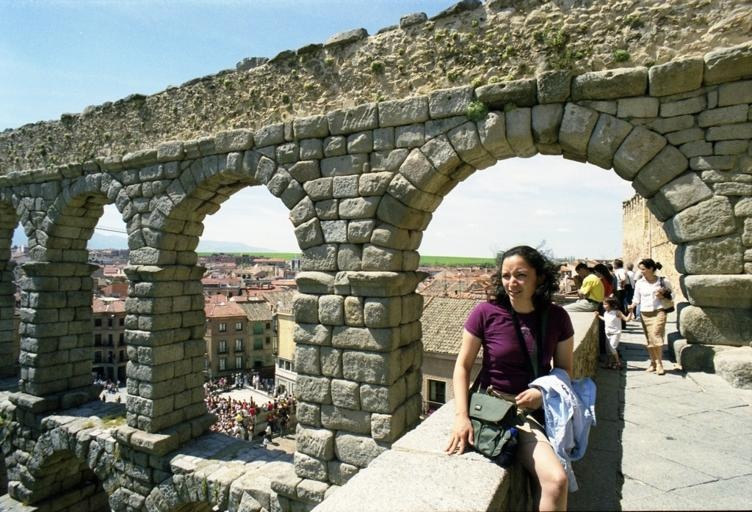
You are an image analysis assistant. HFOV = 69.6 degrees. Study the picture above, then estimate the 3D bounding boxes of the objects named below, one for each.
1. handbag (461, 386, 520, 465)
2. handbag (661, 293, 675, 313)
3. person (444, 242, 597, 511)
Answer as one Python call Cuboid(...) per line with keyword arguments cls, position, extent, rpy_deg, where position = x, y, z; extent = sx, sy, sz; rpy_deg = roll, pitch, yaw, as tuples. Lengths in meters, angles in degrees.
Cuboid(cls="handbag", position=(1.208, 1.643, 5.452), extent=(0.407, 0.610, 0.657), rpy_deg=(-8, 2, -30))
Cuboid(cls="handbag", position=(4.402, 0.682, 8.090), extent=(0.142, 0.234, 0.557), rpy_deg=(-1, -2, 29))
Cuboid(cls="person", position=(1.470, 1.117, 5.395), extent=(1.375, 2.444, 0.710), rpy_deg=(-1, -2, 15))
